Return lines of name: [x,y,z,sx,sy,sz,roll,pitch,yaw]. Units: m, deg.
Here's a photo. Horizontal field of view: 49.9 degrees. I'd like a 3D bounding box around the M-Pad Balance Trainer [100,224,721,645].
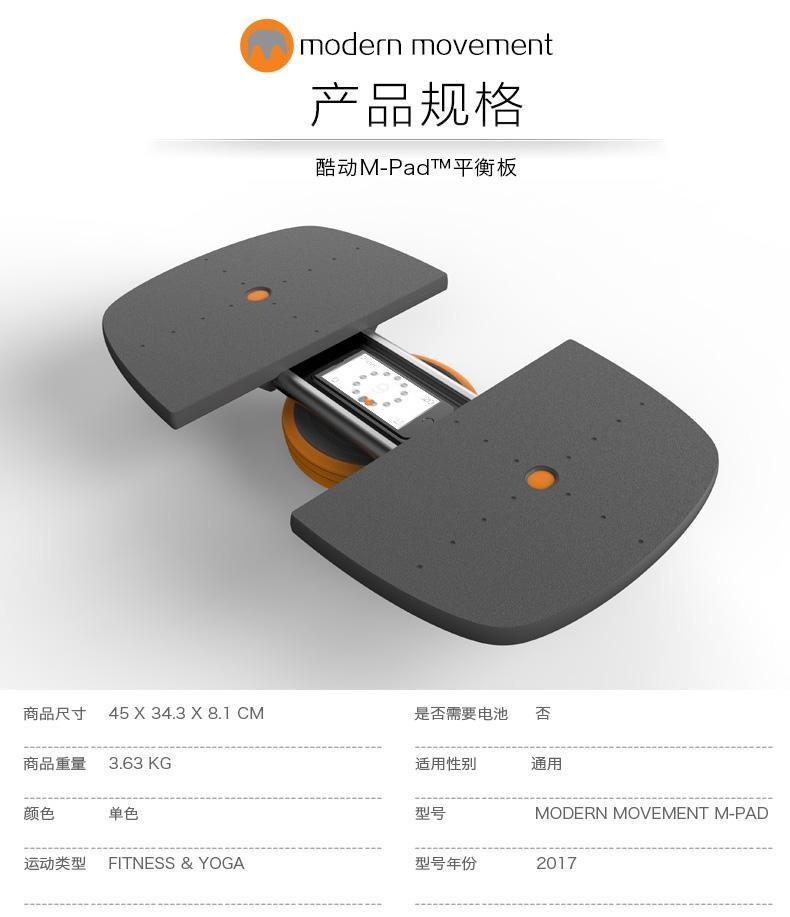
M-Pad Balance Trainer: [-0.075,-0.106,1.710,0.723,0.165,1.223,-30,48,-32]
